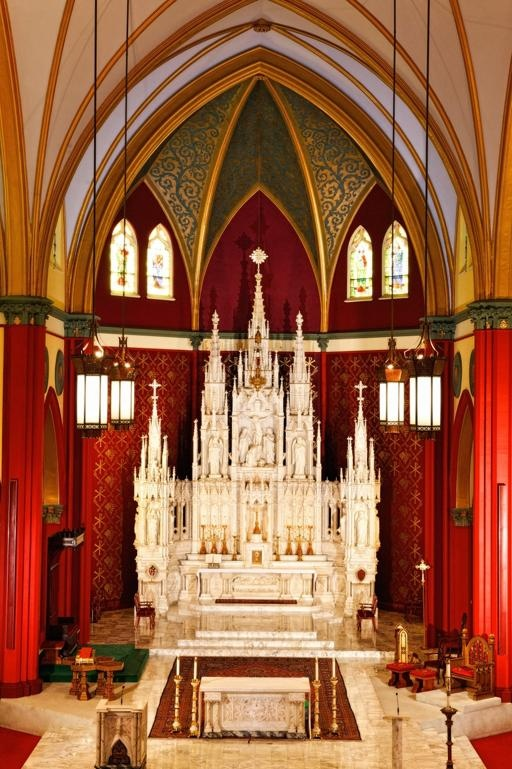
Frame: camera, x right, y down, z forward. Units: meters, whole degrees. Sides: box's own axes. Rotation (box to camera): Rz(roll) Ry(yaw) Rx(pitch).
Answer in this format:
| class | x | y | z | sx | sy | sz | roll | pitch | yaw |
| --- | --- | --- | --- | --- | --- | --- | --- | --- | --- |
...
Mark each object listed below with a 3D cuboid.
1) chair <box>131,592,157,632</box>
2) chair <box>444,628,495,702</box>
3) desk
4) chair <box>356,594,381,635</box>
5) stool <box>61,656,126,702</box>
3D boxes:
| class | x | y | z | sx | sy | sz | roll | pitch | yaw |
| --- | --- | --- | --- | --- | --- | --- | --- | --- | --- |
| chair | -1.810 | 3.671 | 15.890 | 0.330 | 0.780 | 0.466 | 0 | -1 | 3 |
| chair | 2.639 | 3.478 | 12.226 | 0.532 | 0.820 | 0.691 | -1 | 2 | -29 |
| desk | -0.066 | 3.788 | 11.495 | 1.143 | 0.786 | 0.919 | 4 | -15 | -10 |
| chair | 1.840 | 3.738 | 16.026 | 0.331 | 0.723 | 0.402 | 1 | -6 | -1 |
| stool | -2.077 | 3.747 | 12.640 | 0.720 | 0.517 | 1.076 | 0 | 2 | -12 |
